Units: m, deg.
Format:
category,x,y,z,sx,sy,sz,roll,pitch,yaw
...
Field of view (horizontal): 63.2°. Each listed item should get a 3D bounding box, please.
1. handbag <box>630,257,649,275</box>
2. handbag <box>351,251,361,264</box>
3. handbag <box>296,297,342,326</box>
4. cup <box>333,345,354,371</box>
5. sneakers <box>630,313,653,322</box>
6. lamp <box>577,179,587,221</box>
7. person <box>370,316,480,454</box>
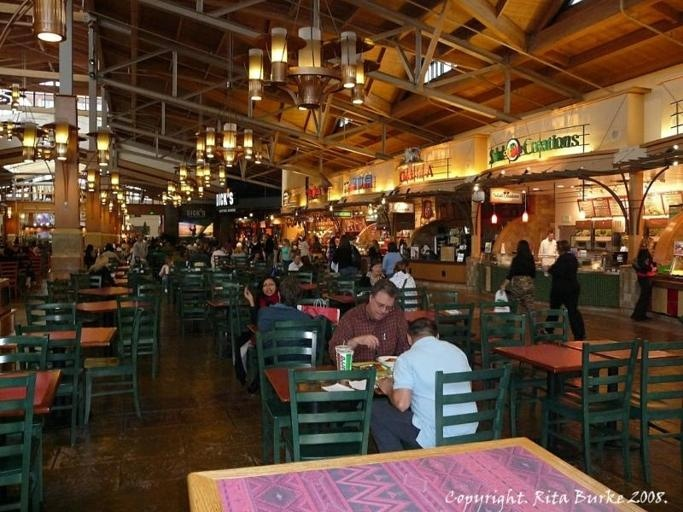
category,x,y,z,sx,sy,sz,roll,pitch,yaw
handbag,6.520,0.242,12.094,0.399,0.416,0.278,7,11,38
handbag,0.411,0.086,15.141,0.303,0.463,0.363,-2,-1,13
handbag,-0.218,0.709,6.923,0.387,0.197,0.465,5,-6,12
cup,0.024,0.833,4.533,0.118,0.193,0.166,0,2,-8
sneakers,6.514,1.358,12.108,0.506,0.193,0.156,-3,3,-6
lamp,7.780,-1.641,17.938,0.235,0.984,0.481,1,3,19
person,0.621,1.077,4.391,0.862,1.118,0.573,1,2,15
